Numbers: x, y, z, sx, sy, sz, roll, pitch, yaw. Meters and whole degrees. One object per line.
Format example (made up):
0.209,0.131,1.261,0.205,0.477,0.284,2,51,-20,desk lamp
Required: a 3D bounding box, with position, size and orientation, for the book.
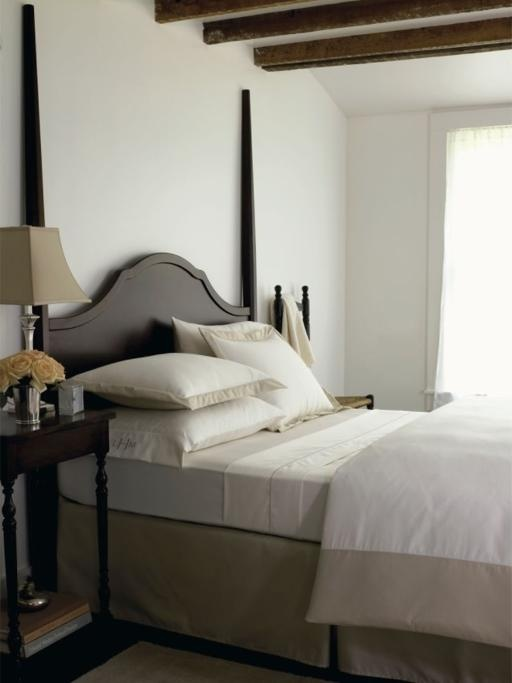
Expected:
-0.580,0.786,1.742,0.135,0.036,0.149,-2,-2,29,book
